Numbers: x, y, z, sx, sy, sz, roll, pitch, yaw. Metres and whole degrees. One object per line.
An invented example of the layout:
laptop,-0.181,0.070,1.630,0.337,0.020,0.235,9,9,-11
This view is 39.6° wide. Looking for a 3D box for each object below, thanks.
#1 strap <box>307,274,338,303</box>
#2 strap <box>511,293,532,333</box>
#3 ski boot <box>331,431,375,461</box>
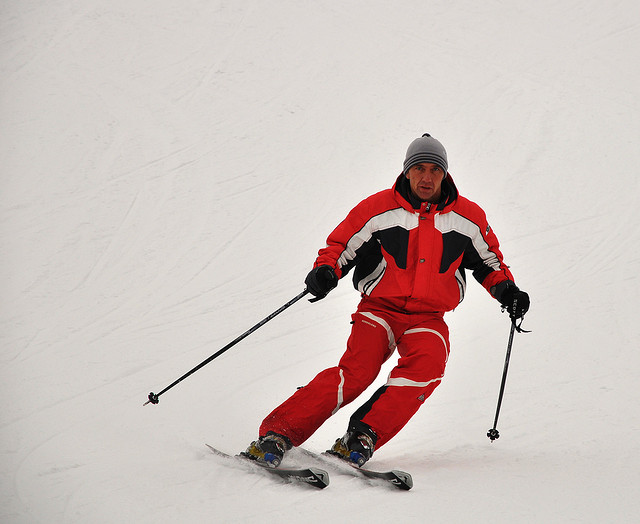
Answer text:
strap,0.015,0.192,6.009,0.201,0.054,0.146,-38,46,21
strap,1.405,0.349,6.178,0.067,0.226,0.163,6,-7,-6
ski boot,0.216,1.204,5.803,0.275,0.159,0.129,2,20,16
